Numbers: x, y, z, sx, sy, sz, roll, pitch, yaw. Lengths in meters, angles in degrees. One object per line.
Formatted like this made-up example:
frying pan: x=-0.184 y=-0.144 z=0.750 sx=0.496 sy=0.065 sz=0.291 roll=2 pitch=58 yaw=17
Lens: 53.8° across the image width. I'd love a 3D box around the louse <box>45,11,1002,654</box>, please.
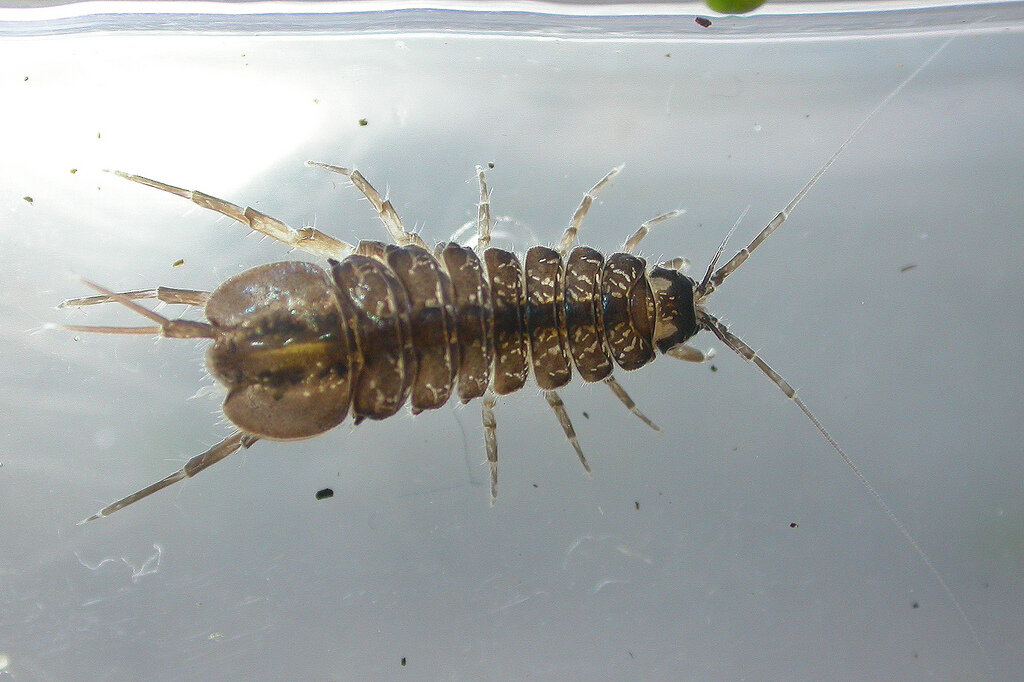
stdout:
louse: x=-0.630 y=-0.057 z=9.997 sx=6.792 sy=2.366 sz=2.820 roll=-7 pitch=64 yaw=-2
